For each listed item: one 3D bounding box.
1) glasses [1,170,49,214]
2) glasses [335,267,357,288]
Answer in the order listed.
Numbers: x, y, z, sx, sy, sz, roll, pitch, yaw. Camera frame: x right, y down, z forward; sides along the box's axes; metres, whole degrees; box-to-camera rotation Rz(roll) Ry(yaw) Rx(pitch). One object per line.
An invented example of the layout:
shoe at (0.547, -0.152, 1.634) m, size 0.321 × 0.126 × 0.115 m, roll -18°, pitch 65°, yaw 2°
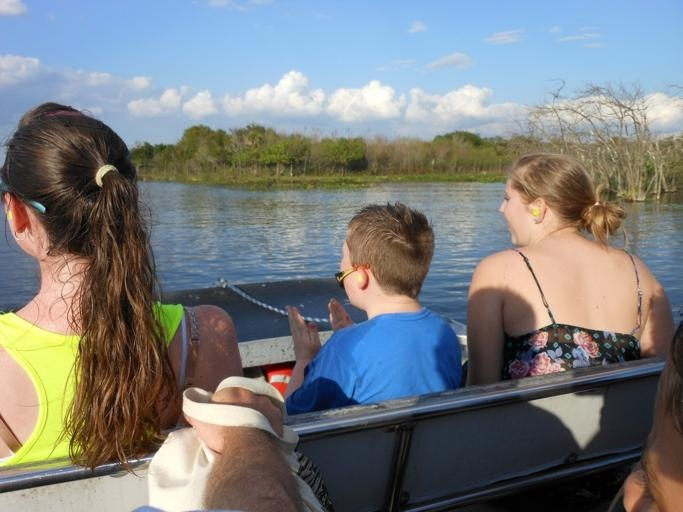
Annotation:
glasses at (-0.956, -0.170, 1.935) m, size 0.102 × 0.147 × 0.071 m, roll 10°, pitch 33°, yaw 38°
glasses at (0.003, 0.092, 2.670) m, size 0.071 × 0.092 × 0.026 m, roll -15°, pitch 30°, yaw -29°
